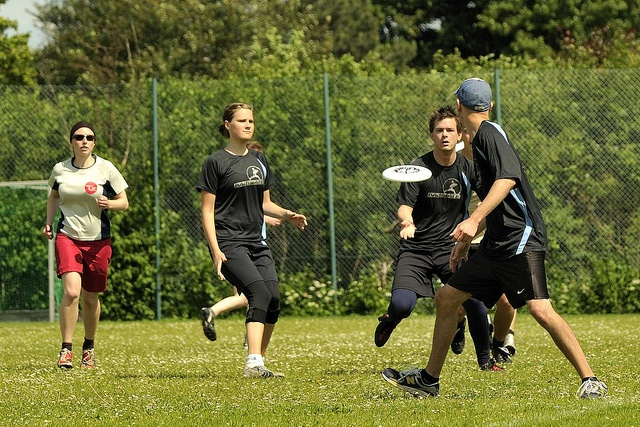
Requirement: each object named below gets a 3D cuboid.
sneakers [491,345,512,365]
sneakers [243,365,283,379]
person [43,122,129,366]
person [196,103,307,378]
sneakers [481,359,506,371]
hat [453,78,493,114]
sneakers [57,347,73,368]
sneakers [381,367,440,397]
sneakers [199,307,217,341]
[{"bbox_3d":[2.358,1.862,11.337,0.134,0.163,0.373,-4,14,-16],"label":"sneakers"},{"bbox_3d":[-0.733,1.919,10.655,0.527,0.235,0.183,1,5,-11],"label":"sneakers"},{"bbox_3d":[-3.120,0.411,11.510,1.018,2.873,0.613,-1,0,-17],"label":"person"},{"bbox_3d":[-0.993,0.326,10.754,0.971,2.630,0.500,-1,0,-9],"label":"person"},{"bbox_3d":[2.158,1.918,10.901,0.314,0.158,0.121,0,0,4],"label":"sneakers"},{"bbox_3d":[1.680,-1.288,9.447,0.287,0.251,0.429,0,32,-4],"label":"hat"},{"bbox_3d":[-3.352,1.914,11.409,0.187,0.239,0.209,-1,1,-14],"label":"sneakers"},{"bbox_3d":[0.979,1.829,9.685,0.631,0.306,0.273,21,-6,6],"label":"sneakers"},{"bbox_3d":[-1.482,1.429,11.306,0.154,0.484,0.214,-10,7,18],"label":"sneakers"}]
